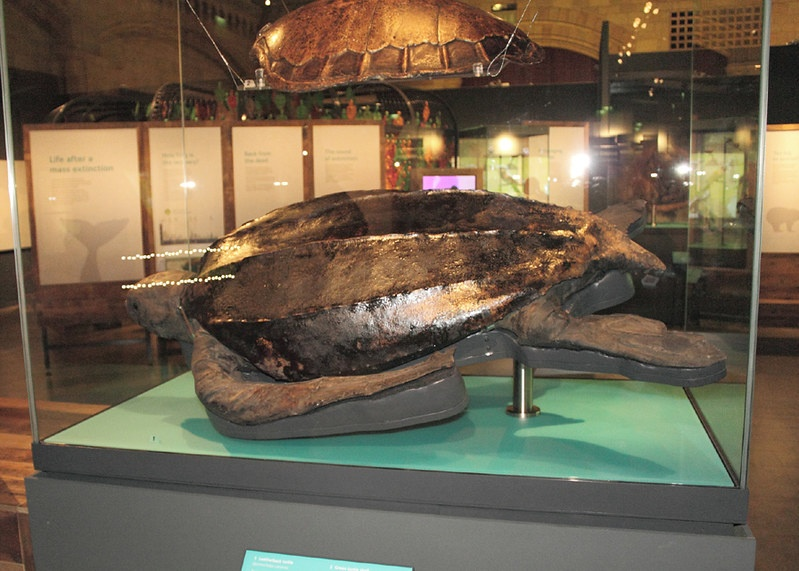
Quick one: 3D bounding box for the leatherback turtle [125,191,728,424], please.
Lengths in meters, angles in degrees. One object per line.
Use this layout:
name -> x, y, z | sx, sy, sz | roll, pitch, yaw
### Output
leatherback turtle -> -0.015, -0.086, 3.187 | 2.191, 0.570, 1.413 | -5, 30, 9

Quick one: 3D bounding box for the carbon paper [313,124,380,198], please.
carbon paper -> -0.209, -0.478, 2.925 | 0.280, 0.294, 0.021 | -5, 27, -11

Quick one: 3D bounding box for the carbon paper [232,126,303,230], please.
carbon paper -> -0.513, -0.410, 2.933 | 0.298, 0.387, 0.010 | 2, 11, 11

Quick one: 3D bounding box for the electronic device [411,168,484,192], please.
electronic device -> 0.170, -0.398, 2.911 | 0.281, 0.089, 0.021 | 0, 10, 20
